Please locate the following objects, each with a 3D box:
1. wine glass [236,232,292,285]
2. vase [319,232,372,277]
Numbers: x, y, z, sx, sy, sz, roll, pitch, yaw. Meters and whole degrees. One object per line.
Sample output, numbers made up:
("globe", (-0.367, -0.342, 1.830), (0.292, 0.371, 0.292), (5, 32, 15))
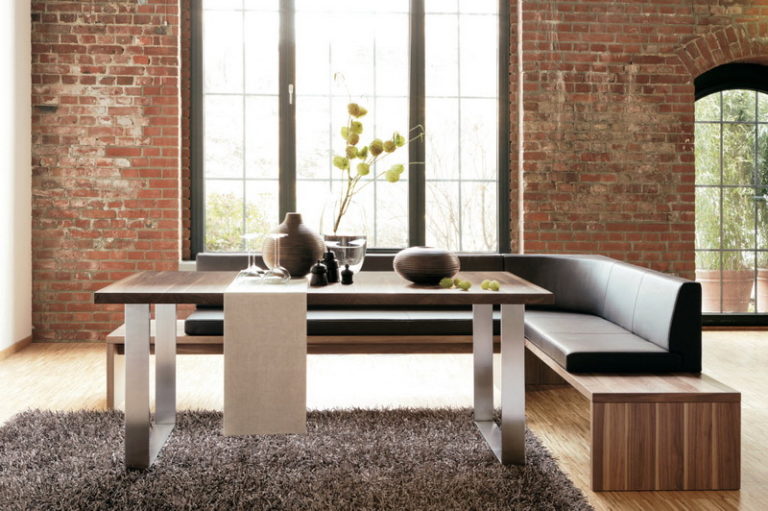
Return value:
("wine glass", (-0.825, 0.031, 4.676), (0.417, 0.369, 0.190), (0, -4, -7))
("vase", (-0.276, -0.031, 4.703), (0.249, 0.271, 0.283), (1, 2, 1))
